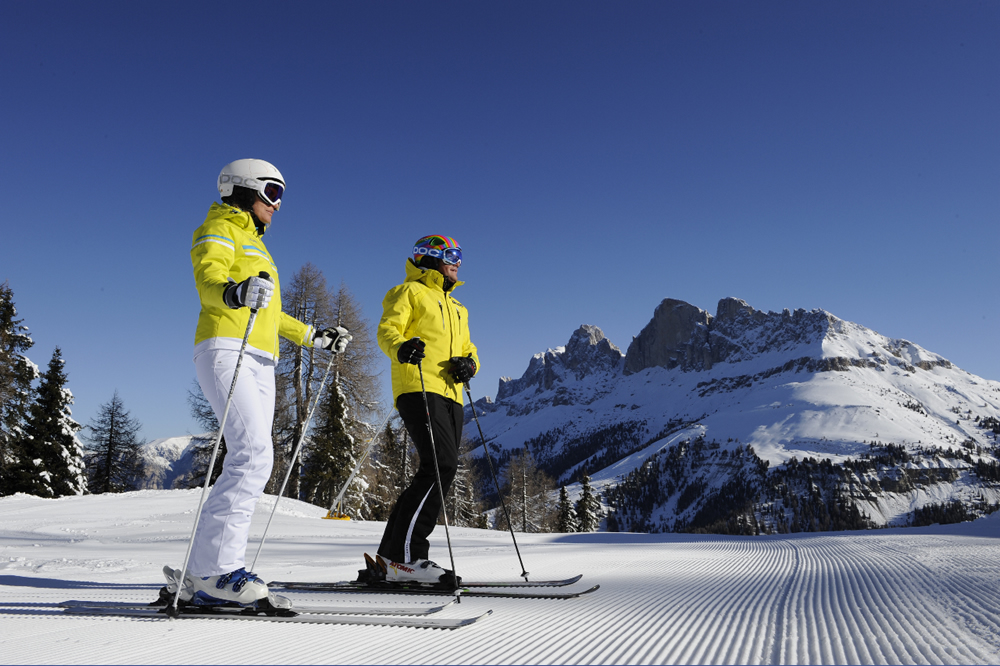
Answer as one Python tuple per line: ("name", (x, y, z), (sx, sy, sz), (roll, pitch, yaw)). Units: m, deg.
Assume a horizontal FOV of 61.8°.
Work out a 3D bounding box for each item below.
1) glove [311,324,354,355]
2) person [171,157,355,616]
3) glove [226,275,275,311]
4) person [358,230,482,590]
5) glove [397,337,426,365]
("glove", (-1.510, 0.062, 7.482), (0.318, 0.138, 0.239), (7, 2, 2))
("person", (-2.005, 0.467, 6.638), (1.092, 3.695, 1.503), (3, 6, -12))
("glove", (-1.920, -0.301, 6.340), (0.345, 0.238, 0.165), (-1, -9, 0))
("person", (-0.706, 0.701, 7.654), (0.903, 3.176, 1.423), (4, 6, -2))
("glove", (-0.808, 0.169, 7.461), (0.244, 0.241, 0.216), (3, 6, -8))
